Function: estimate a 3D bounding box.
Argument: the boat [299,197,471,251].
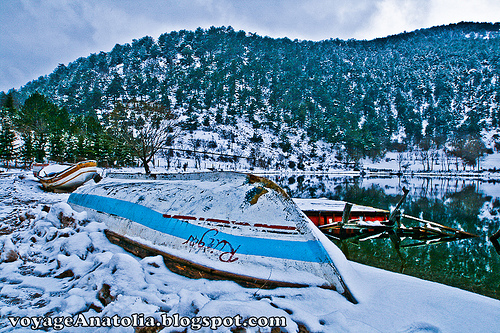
[{"bbox_3d":[21.325,9.483,65.108,18.955,3.090,12.292,1,-1,5],"label":"boat"}]
